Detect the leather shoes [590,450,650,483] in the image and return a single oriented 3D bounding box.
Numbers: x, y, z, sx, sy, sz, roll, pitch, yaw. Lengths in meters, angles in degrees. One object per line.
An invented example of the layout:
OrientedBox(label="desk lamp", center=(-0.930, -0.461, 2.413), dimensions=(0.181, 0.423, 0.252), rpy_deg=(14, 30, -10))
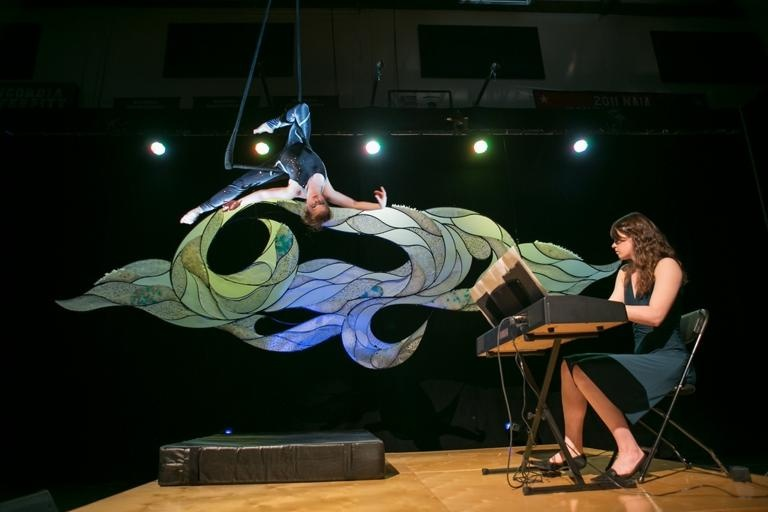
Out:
OrientedBox(label="leather shoes", center=(1.985, 1.843, 6.489), dimensions=(0.551, 0.141, 0.211), rpy_deg=(-16, -13, -33))

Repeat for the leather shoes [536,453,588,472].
OrientedBox(label="leather shoes", center=(1.545, 1.826, 6.715), dimensions=(0.481, 0.184, 0.172), rpy_deg=(2, -20, 8))
